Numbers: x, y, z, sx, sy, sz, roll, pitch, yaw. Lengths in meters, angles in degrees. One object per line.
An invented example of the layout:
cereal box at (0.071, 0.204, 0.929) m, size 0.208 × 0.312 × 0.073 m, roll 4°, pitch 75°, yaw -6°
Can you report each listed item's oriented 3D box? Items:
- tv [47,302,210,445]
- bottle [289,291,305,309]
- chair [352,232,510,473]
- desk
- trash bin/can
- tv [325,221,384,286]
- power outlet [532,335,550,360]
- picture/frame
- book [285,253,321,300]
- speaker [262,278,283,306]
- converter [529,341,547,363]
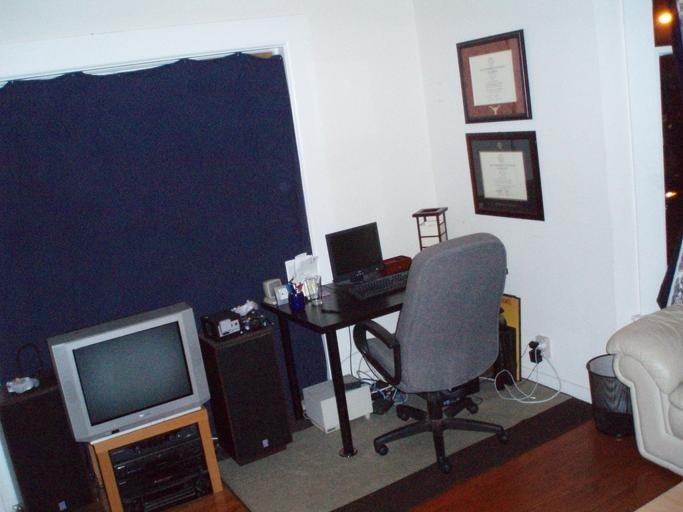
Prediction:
tv at (-1.380, 0.783, 3.795) m, size 0.908 × 0.710 × 0.504 m, roll -15°, pitch 10°, yaw -19°
bottle at (-0.315, 0.324, 4.075) m, size 0.108 × 0.162 × 0.114 m, roll 0°, pitch 4°, yaw 0°
chair at (0.611, 0.559, 3.716) m, size 0.869 × 1.479 × 0.842 m, roll -13°, pitch 15°, yaw -28°
desk at (0.044, 0.516, 4.240) m, size 1.271 × 1.007 × 0.983 m, roll -14°, pitch 19°, yaw -36°
trash bin/can at (1.804, 0.905, 3.705) m, size 0.308 × 0.488 × 0.343 m, roll -2°, pitch -16°, yaw 26°
tv at (0.095, -0.006, 4.291) m, size 0.400 × 0.352 × 0.042 m, roll -19°, pitch 12°, yaw -28°
power outlet at (1.511, 0.695, 4.208) m, size 0.090 × 0.184 × 0.174 m, roll -3°, pitch 1°, yaw -30°
picture/frame at (1.183, -0.935, 4.133) m, size 0.087 × 1.358 × 0.628 m, roll -15°, pitch 13°, yaw -34°
book at (-0.287, 0.162, 4.117) m, size 0.227 × 0.304 × 0.155 m, roll -19°, pitch 26°, yaw -31°
speaker at (-0.549, 0.260, 4.205) m, size 0.169 × 0.217 × 0.152 m, roll 9°, pitch 14°, yaw 38°
converter at (1.496, 0.724, 4.218) m, size 0.095 × 0.195 × 0.126 m, roll -14°, pitch 15°, yaw -41°
